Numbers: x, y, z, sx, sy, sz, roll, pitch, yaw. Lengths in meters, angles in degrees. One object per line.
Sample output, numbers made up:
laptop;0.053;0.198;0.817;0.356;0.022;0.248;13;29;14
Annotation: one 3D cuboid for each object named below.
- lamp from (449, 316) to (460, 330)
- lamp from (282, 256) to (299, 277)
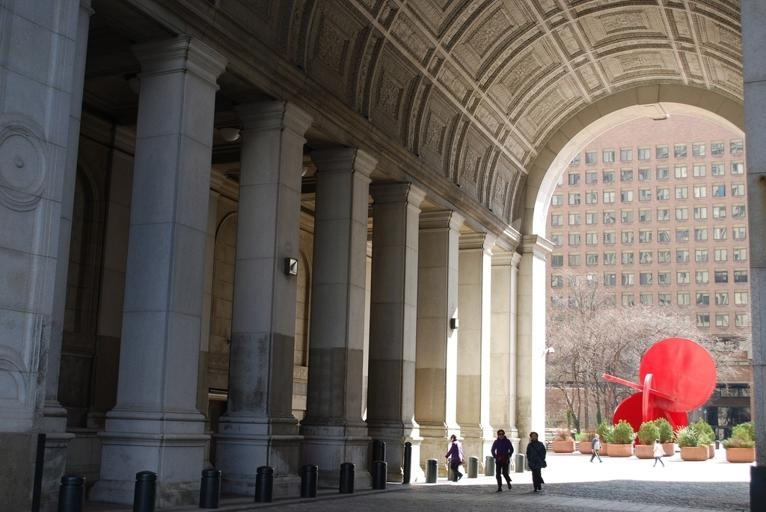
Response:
lamp;2.683;2.529;31.035;0.361;0.683;0.676;-2;-7;22
lamp;-2.553;0.280;22.643;0.269;0.499;0.532;-2;-7;35
